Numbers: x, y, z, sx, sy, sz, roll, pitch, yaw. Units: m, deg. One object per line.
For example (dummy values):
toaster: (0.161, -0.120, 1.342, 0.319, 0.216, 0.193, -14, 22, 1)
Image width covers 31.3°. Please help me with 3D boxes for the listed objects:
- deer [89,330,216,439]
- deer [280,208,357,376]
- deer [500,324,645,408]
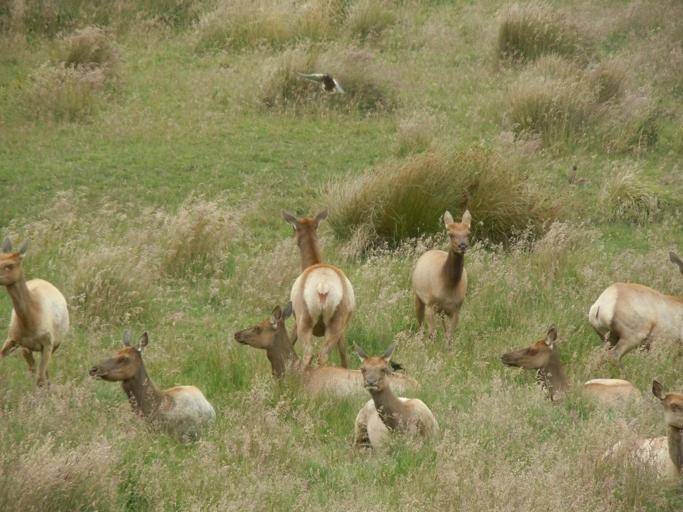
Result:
deer: (-2.807, 2.384, 19.809, 2.125, 2.126, 0.785, 3, 2, -33)
deer: (-0.446, 0.753, 21.860, 0.977, 2.847, 3.265, -1, 7, -5)
deer: (3.698, 1.768, 19.784, 2.179, 1.081, 0.589, 9, 27, 5)
